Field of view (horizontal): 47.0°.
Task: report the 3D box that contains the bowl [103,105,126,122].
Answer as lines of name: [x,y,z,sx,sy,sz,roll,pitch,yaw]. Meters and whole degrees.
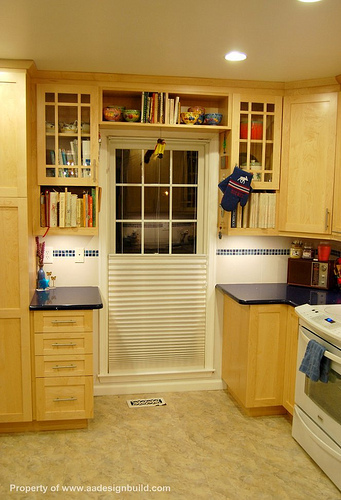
bowl: [-0.416,-0.983,2.816,0.117,0.093,0.123,0,15,0]

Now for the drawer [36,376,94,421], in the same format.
drawer: [-0.691,0.960,2.548,0.285,0.233,0.319,0,-3,-7]

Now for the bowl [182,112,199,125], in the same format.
bowl: [0.142,-0.972,2.896,0.090,0.068,0.092,-2,13,0]

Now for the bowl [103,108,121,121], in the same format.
bowl: [-0.425,-0.976,2.864,0.092,0.065,0.096,0,7,0]

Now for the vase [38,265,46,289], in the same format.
vase: [-0.934,0.191,2.847,0.053,0.167,0.103,0,2,-21]

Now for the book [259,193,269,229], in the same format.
book: [0.700,-0.296,2.969,0.059,0.264,0.039,1,1,2]

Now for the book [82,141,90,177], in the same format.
book: [-0.594,-0.639,2.754,0.056,0.248,0.020,1,1,-5]

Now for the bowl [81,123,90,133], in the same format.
bowl: [-0.589,-0.856,2.767,0.053,0.077,0.062,2,42,-6]

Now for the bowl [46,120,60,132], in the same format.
bowl: [-0.819,-0.852,2.707,0.068,0.066,0.071,2,13,0]

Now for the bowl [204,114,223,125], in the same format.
bowl: [0.306,-0.970,2.950,0.089,0.055,0.092,-2,14,0]

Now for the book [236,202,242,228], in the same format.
book: [0.518,-0.258,2.974,0.028,0.176,0.056,2,2,35]

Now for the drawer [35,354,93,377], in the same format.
drawer: [-0.690,0.744,2.537,0.340,0.141,0.267,0,8,-23]

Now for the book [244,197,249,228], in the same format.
book: [0.574,-0.284,2.987,0.035,0.224,0.059,1,1,12]

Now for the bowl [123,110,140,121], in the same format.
bowl: [-0.285,-0.963,2.806,0.079,0.058,0.083,0,9,0]

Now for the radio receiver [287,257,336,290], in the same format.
radio receiver: [1.084,0.184,3.072,0.366,0.221,0.123,2,2,45]

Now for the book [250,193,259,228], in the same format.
book: [0.634,-0.298,2.965,0.070,0.255,0.031,0,2,-25]

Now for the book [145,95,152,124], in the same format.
book: [-0.159,-1.006,2.810,0.051,0.176,0.051,1,1,-5]

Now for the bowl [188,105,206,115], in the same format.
bowl: [0.199,-1.061,2.987,0.113,0.083,0.117,1,9,0]

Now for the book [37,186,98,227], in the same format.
book: [-0.726,-0.311,2.771,0.413,0.289,0.090,0,1,-8]
